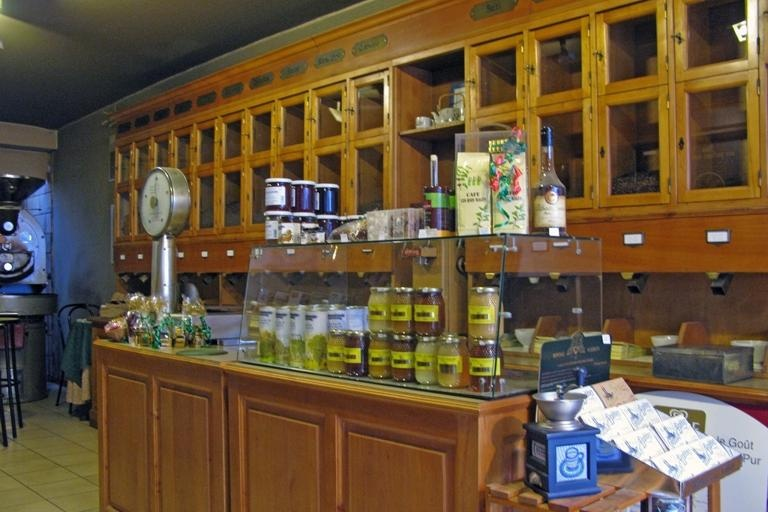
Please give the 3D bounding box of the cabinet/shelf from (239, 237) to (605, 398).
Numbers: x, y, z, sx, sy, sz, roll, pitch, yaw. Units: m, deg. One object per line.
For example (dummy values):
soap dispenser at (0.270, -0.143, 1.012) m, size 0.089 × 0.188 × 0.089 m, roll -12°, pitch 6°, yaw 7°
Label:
cabinet/shelf at (0.127, 0.202, 2.891) m, size 1.596 × 0.663 × 0.576 m, roll 3°, pitch 15°, yaw 25°

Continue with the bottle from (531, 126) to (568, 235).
bottle at (0.682, -0.298, 2.733) m, size 0.124 × 0.422 × 0.146 m, roll 5°, pitch 16°, yaw 33°

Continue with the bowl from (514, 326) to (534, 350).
bowl at (0.546, 0.324, 2.569) m, size 0.076 × 0.058 × 0.074 m, roll 1°, pitch 5°, yaw 0°

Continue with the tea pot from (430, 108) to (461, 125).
tea pot at (0.423, -0.959, 4.489) m, size 0.116 × 0.090 × 0.178 m, roll -7°, pitch 8°, yaw -38°

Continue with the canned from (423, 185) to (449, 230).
canned at (0.223, -0.208, 2.803) m, size 0.106 × 0.182 × 0.117 m, roll -3°, pitch 14°, yaw 6°
